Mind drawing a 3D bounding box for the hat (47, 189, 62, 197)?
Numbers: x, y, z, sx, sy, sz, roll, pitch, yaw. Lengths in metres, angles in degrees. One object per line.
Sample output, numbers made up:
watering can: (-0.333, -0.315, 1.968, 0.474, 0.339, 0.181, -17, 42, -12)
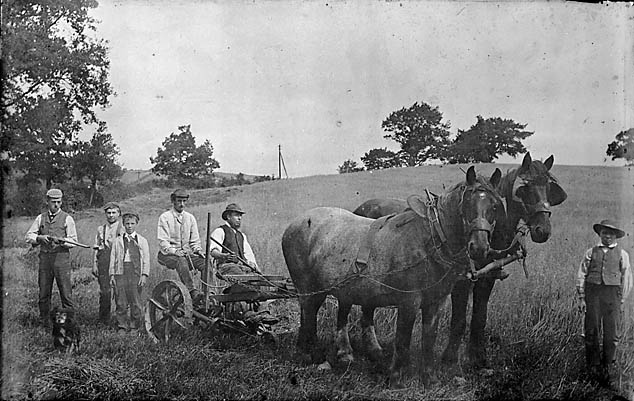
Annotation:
hat: (-4.825, -0.154, 11.623, 0.255, 0.142, 0.205, 0, -1, -24)

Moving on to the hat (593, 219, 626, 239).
hat: (5.183, 0.486, 11.201, 0.491, 0.320, 0.361, 0, -1, 21)

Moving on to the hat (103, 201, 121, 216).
hat: (-3.894, 0.147, 12.062, 0.337, 0.261, 0.222, 1, -1, -31)

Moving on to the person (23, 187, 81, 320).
person: (-4.798, 0.974, 11.500, 0.836, 2.348, 0.358, 0, -1, -20)

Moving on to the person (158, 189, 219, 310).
person: (-2.447, 0.856, 11.741, 1.010, 2.145, 0.569, 0, -1, 38)

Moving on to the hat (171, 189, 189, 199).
hat: (-2.574, -0.134, 11.854, 0.296, 0.189, 0.147, 0, -1, -14)

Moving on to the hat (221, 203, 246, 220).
hat: (-1.591, 0.203, 11.807, 0.385, 0.281, 0.316, 0, -1, -3)

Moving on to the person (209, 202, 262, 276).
person: (-1.565, 0.761, 11.942, 0.851, 1.458, 1.034, -16, -20, 35)

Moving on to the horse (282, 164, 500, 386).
horse: (1.170, 1.446, 11.059, 4.630, 3.528, 1.921, -2, -3, 43)

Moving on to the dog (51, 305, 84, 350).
dog: (-4.526, 2.425, 11.463, 0.310, 0.602, 0.749, -1, -3, -3)

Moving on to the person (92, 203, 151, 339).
person: (-3.696, 1.247, 11.851, 0.989, 2.414, 0.487, 0, -1, 19)

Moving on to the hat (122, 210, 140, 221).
hat: (-3.527, 0.272, 12.024, 0.296, 0.201, 0.523, 0, -1, -13)
